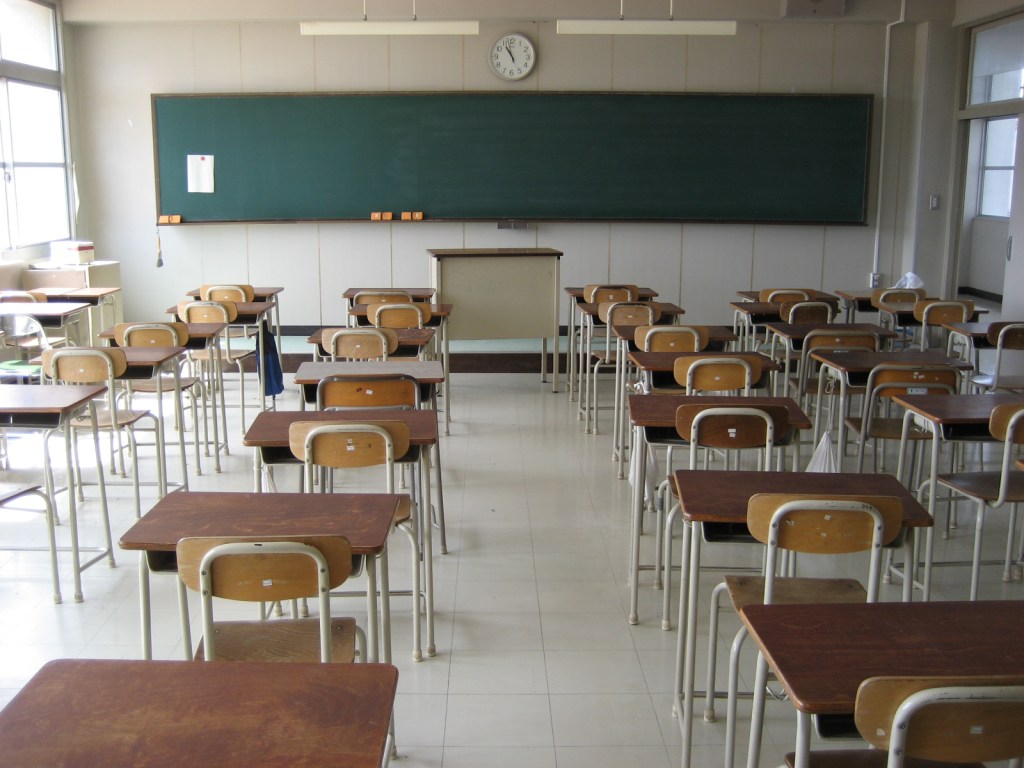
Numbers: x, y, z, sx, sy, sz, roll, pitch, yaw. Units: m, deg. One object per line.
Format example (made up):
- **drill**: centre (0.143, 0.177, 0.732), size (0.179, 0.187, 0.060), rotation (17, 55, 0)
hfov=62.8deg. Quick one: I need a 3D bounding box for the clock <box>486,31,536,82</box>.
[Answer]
- **clock**: centre (-0.015, -3.423, 8.770), size (0.545, 0.485, 0.070), rotation (-9, 27, -24)
